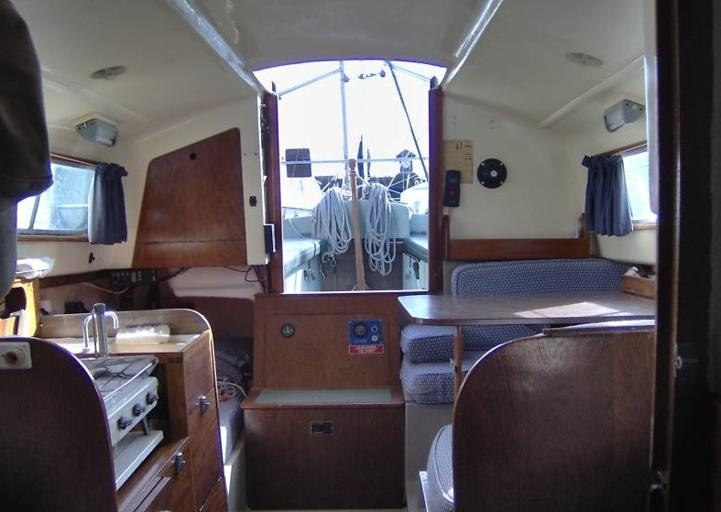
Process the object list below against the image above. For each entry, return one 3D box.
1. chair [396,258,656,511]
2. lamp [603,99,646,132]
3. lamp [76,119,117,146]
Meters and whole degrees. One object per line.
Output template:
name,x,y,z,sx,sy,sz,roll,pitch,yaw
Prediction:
chair,0.938,0.409,2.906,1.439,0.845,1.346,-2,0,2
lamp,1.518,-0.806,3.073,0.239,0.136,0.337,-16,1,39
lamp,-1.522,-0.714,3.123,0.117,0.088,0.160,3,3,11
